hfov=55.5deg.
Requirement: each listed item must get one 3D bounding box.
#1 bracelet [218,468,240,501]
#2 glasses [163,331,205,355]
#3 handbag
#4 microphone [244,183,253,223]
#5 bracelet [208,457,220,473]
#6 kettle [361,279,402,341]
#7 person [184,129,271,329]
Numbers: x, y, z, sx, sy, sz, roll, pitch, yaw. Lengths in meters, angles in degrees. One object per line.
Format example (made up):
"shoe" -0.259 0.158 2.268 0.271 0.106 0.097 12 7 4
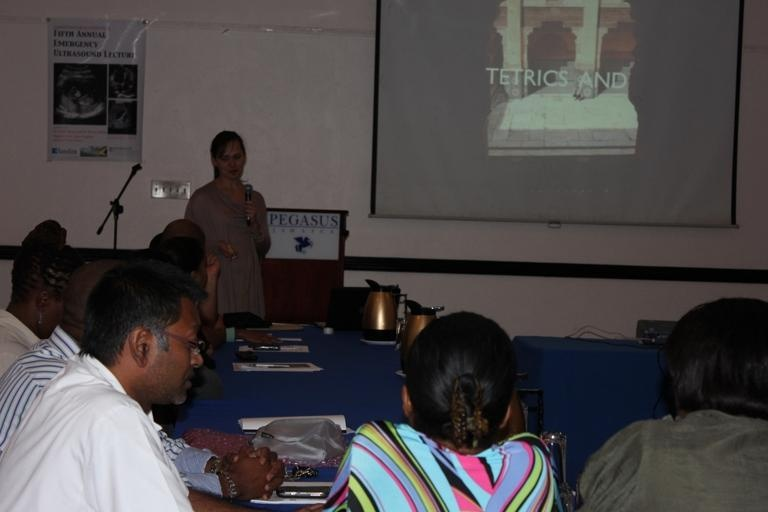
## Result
"bracelet" -0.463 0.679 2.195 0.027 0.078 0.058 -30 13 -32
"glasses" -0.561 0.245 2.043 0.069 0.021 0.068 24 -3 -2
"handbag" -0.259 0.582 2.332 0.176 0.051 0.170 -4 11 -16
"microphone" -0.876 -0.344 4.676 0.053 0.259 0.260 2 -1 -11
"bracelet" -0.529 0.640 2.255 0.029 0.043 0.016 -3 18 -10
"kettle" -0.044 0.294 3.918 0.274 0.366 0.236 2 2 -6
"person" -0.947 -0.025 4.800 0.471 1.491 0.504 -17 29 -35
